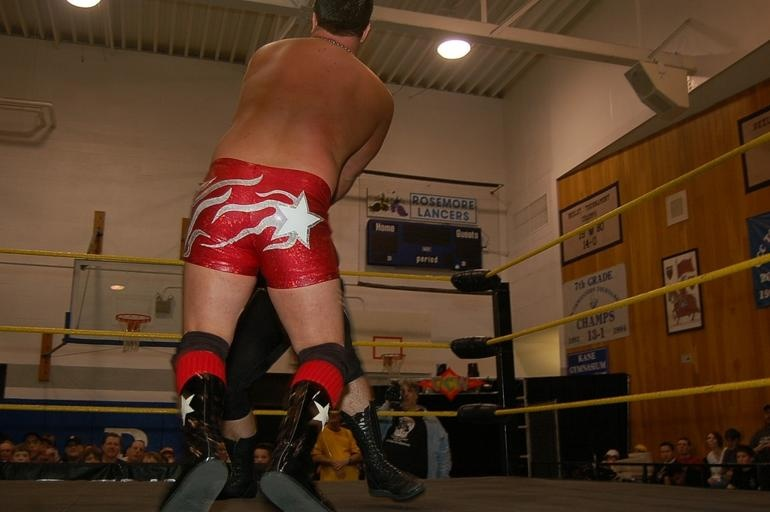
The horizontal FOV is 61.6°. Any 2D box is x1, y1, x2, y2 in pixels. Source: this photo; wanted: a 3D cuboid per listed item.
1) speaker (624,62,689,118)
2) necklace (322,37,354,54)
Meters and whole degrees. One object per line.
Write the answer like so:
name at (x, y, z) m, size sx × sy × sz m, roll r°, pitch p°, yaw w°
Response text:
speaker at (2.894, -1.763, 6.836) m, size 0.599 × 0.423 × 0.314 m, roll 4°, pitch -11°, yaw -13°
necklace at (-0.203, -0.927, 2.830) m, size 0.104 × 0.018 × 0.081 m, roll 33°, pitch 3°, yaw -31°
